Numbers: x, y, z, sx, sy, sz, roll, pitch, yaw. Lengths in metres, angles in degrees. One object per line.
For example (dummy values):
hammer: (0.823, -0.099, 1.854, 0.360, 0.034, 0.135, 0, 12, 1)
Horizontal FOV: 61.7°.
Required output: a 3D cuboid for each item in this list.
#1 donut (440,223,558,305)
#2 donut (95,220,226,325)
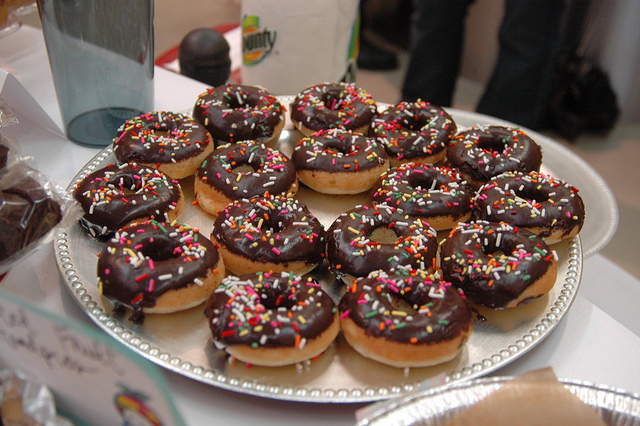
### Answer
donut: (0.840, 0.224, 2.565, 0.545, 0.212, 0.578, -2, 30, 8)
donut: (-0.726, 0.210, 2.448, 0.553, 0.231, 0.592, 18, 29, 11)
